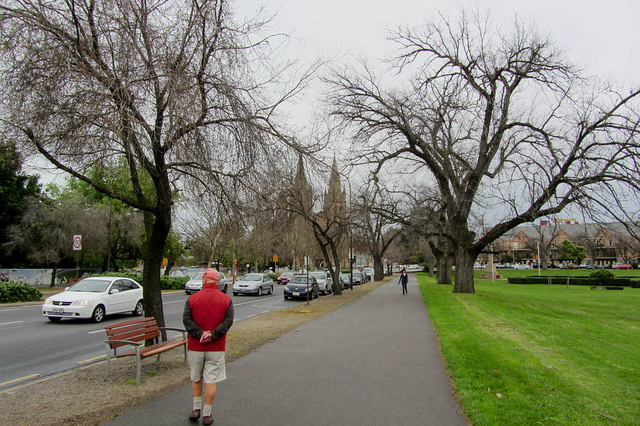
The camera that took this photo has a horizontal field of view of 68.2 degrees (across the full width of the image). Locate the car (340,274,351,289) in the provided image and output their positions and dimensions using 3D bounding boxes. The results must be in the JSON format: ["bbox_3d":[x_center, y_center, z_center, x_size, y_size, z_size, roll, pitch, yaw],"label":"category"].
[{"bbox_3d":[2.620,6.775,47.631,0.708,1.469,1.961,-4,-10,11],"label":"car"}]

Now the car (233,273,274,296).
[{"bbox_3d":[-5.317,5.576,37.306,1.913,1.899,3.819,-5,-11,13],"label":"car"}]

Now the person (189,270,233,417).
[{"bbox_3d":[-2.349,2.754,10.165,0.899,3.047,0.424,-1,-8,-10],"label":"person"}]

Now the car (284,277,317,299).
[{"bbox_3d":[-1.460,4.963,32.738,1.190,1.090,2.983,-2,-17,5],"label":"car"}]

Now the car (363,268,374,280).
[{"bbox_3d":[6.866,8.704,67.948,1.183,1.360,2.257,1,1,6],"label":"car"}]
